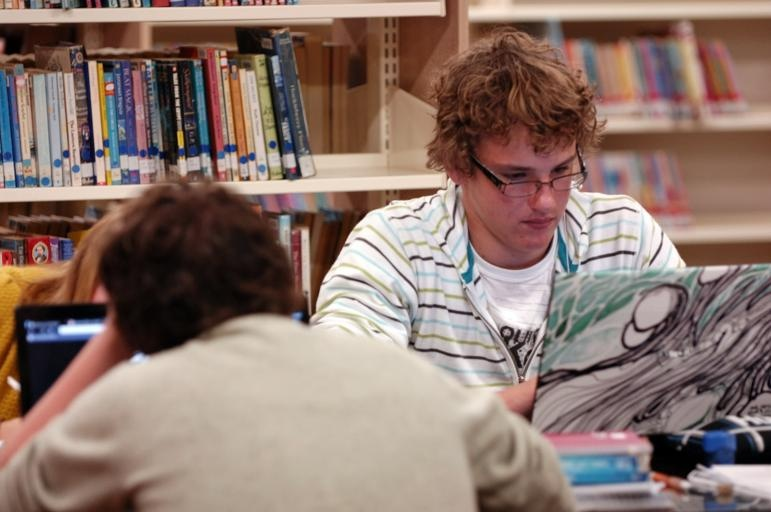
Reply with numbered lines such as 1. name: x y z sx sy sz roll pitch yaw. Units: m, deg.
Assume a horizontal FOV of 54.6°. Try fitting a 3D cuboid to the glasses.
1. glasses: 0.366 -0.175 1.839 0.181 0.050 0.182 -14 41 -15
